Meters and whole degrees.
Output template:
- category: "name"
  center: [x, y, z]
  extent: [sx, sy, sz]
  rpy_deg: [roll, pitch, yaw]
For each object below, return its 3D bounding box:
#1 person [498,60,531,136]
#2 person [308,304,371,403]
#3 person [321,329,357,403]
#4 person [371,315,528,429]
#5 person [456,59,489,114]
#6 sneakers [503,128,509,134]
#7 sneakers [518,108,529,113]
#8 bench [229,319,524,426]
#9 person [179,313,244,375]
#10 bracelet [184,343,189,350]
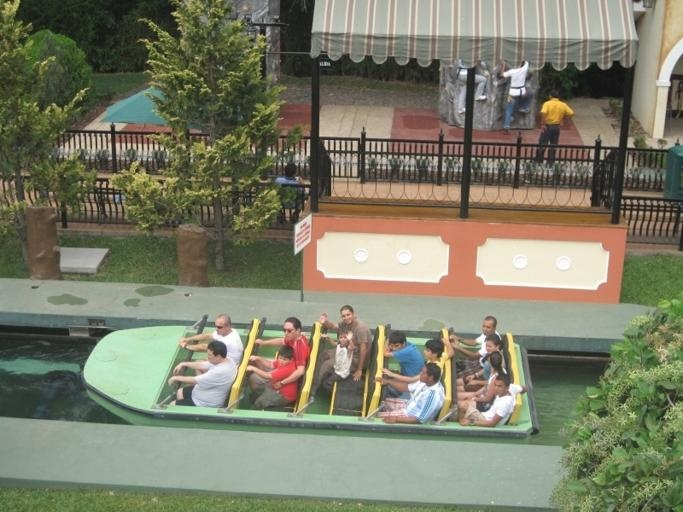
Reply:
- category: "person"
  center: [4.684, -4.537, 24.270]
  extent: [0.776, 2.049, 0.733]
  rpy_deg: [-20, 38, -19]
- category: "person"
  center: [-0.066, 1.533, 13.782]
  extent: [0.793, 1.576, 0.679]
  rpy_deg: [5, 7, -19]
- category: "person"
  center: [-0.135, 1.592, 13.636]
  extent: [0.484, 1.043, 0.462]
  rpy_deg: [18, 5, 2]
- category: "person"
  center: [1.534, 1.689, 12.762]
  extent: [1.542, 0.527, 1.321]
  rpy_deg: [0, 34, 5]
- category: "person"
  center: [3.516, -4.919, 24.667]
  extent: [0.825, 1.751, 0.587]
  rpy_deg: [6, -26, 0]
- category: "sneakers"
  center: [4.425, -3.392, 24.475]
  extent: [0.084, 0.120, 0.274]
  rpy_deg: [0, 25, 5]
- category: "sneakers"
  center: [4.967, -3.998, 24.730]
  extent: [0.209, 0.122, 0.101]
  rpy_deg: [3, 18, 13]
- category: "bench"
  center: [0.207, 1.967, 13.223]
  extent: [2.858, 0.770, 1.958]
  rpy_deg: [4, 34, 2]
- category: "person"
  center: [-1.943, 1.530, 13.734]
  extent: [0.868, 1.351, 0.420]
  rpy_deg: [-2, 18, -18]
- category: "bracelet"
  center: [-2.401, 1.384, 13.986]
  extent: [0.072, 0.028, 0.072]
  rpy_deg: [13, 11, -39]
